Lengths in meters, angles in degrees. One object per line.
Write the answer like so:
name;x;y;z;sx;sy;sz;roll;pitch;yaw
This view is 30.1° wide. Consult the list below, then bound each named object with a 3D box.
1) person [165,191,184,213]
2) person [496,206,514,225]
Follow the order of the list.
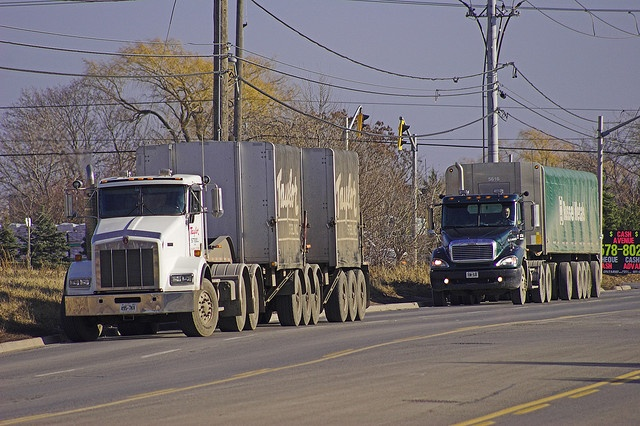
person;-4.678;-0.379;38.526;0.583;0.777;0.163;0;-2;-12
person;7.283;0.081;46.896;0.631;0.795;0.227;0;-2;-22
